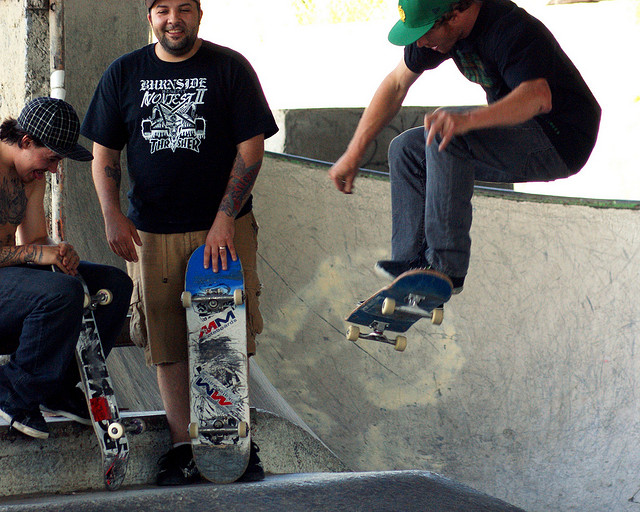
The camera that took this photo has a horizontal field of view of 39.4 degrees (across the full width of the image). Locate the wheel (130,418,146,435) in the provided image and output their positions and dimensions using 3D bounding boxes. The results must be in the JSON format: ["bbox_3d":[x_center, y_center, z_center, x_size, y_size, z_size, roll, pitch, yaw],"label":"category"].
[{"bbox_3d":[-1.285,1.205,6.378,0.093,0.106,0.034,7,3,-44],"label":"wheel"}]

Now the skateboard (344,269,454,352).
[{"bbox_3d":[0.615,0.359,6.596,0.420,0.941,0.287,18,47,-17],"label":"skateboard"}]

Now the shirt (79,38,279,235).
[{"bbox_3d":[-1.190,-0.906,6.967,1.931,2.072,0.879,0,1,1],"label":"shirt"}]

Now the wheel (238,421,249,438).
[{"bbox_3d":[-0.555,1.237,6.475,0.066,0.150,0.136,2,7,-3],"label":"wheel"}]

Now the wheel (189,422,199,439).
[{"bbox_3d":[-0.898,1.246,6.397,0.070,0.095,0.069,7,24,-3],"label":"wheel"}]

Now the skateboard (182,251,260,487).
[{"bbox_3d":[-0.728,0.886,6.561,0.397,1.975,0.247,-3,-5,0],"label":"skateboard"}]

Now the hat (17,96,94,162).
[{"bbox_3d":[-1.886,-0.920,6.537,0.567,0.342,0.382,24,5,9],"label":"hat"}]

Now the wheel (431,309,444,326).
[{"bbox_3d":[0.860,0.450,6.558,0.081,0.129,0.117,0,18,-6],"label":"wheel"}]

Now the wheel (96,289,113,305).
[{"bbox_3d":[-1.558,0.311,6.489,0.108,0.139,0.154,2,26,-15],"label":"wheel"}]

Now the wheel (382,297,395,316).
[{"bbox_3d":[0.504,0.382,6.572,0.090,0.158,0.111,10,24,5],"label":"wheel"}]

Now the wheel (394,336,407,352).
[{"bbox_3d":[0.603,0.656,6.752,0.073,0.153,0.147,6,-16,-10],"label":"wheel"}]
